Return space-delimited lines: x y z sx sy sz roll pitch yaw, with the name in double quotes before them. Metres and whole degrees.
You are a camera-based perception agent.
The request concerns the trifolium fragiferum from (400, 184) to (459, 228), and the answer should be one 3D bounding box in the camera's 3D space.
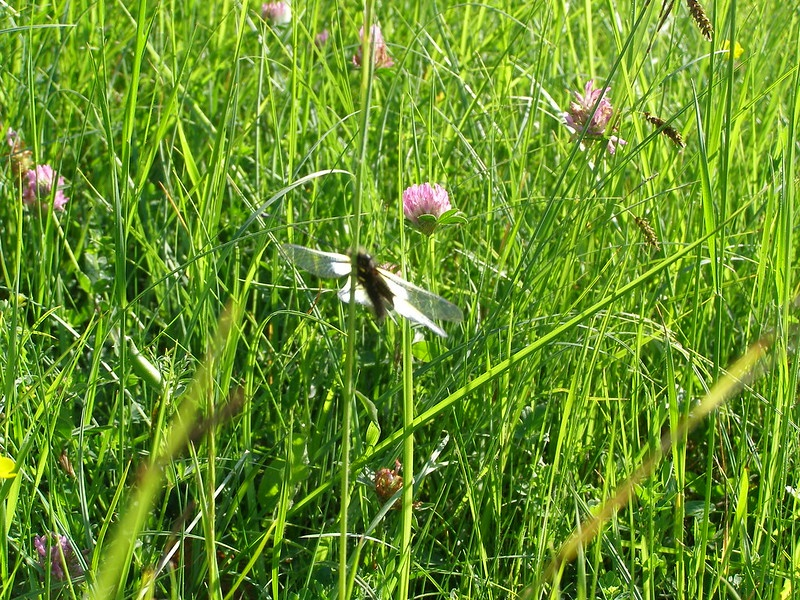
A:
"trifolium fragiferum" 0.071 -0.234 2.209 0.074 0.133 0.112 18 26 41
